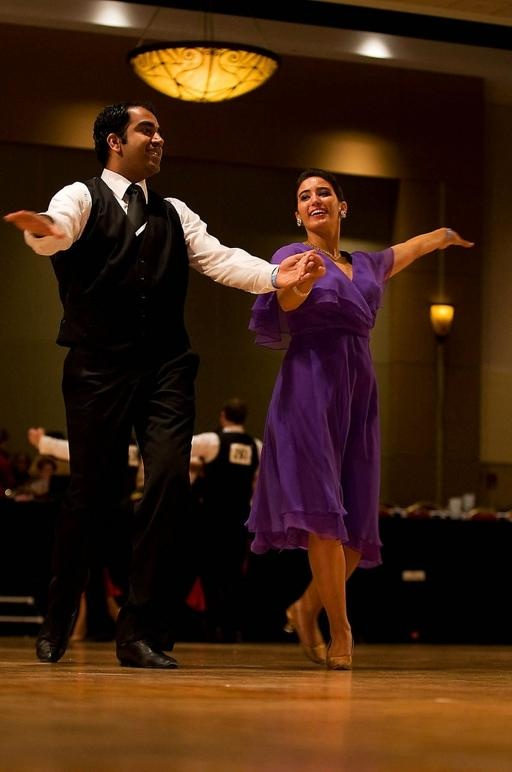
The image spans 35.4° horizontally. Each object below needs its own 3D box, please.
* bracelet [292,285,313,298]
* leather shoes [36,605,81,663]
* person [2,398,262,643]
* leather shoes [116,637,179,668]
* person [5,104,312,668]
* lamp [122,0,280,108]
[{"bbox_3d":[0.125,-0.262,2.194,0.051,0.024,0.063,1,-1,-4],"label":"bracelet"},{"bbox_3d":[-0.493,0.613,1.981,0.086,0.132,0.149,5,-5,-14],"label":"leather shoes"},{"bbox_3d":[-0.475,0.600,3.211,1.259,1.244,0.361,4,-7,-23],"label":"person"},{"bbox_3d":[-0.245,0.618,1.828,0.097,0.063,0.165,6,-6,-26],"label":"leather shoes"},{"bbox_3d":[-0.274,-0.039,1.997,0.632,1.465,0.491,6,-5,-14],"label":"person"},{"bbox_3d":[-0.349,-1.718,4.597,0.651,0.600,0.635,0,2,-26],"label":"lamp"}]
